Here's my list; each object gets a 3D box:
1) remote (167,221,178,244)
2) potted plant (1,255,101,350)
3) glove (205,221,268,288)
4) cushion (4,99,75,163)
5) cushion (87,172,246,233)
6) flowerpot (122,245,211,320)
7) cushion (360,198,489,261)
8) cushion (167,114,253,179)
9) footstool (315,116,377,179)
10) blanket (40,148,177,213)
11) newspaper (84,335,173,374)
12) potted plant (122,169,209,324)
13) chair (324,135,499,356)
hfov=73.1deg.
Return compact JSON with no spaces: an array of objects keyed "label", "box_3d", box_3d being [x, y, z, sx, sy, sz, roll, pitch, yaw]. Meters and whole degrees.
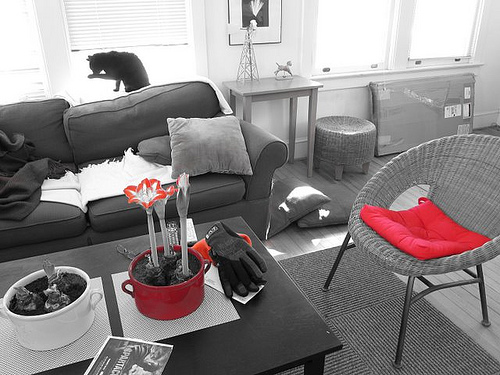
[{"label":"remote","box_3d":[-0.306,0.184,1.334,0.036,0.140,0.037,-8,28,-19]},{"label":"potted plant","box_3d":[-0.647,0.369,1.104,0.260,0.268,0.191,-1,27,8]},{"label":"glove","box_3d":[-0.046,0.277,1.362,0.160,0.216,0.208,-10,28,-35]},{"label":"cushion","box_3d":[-1.450,-0.398,2.346,0.400,0.412,0.163,-1,-3,-17]},{"label":"cushion","box_3d":[-0.494,0.093,2.119,0.972,0.210,0.196,-14,29,-17]},{"label":"flowerpot","box_3d":[-0.288,0.331,1.207,0.257,0.222,0.193,3,28,16]},{"label":"cushion","box_3d":[0.865,0.201,1.668,0.511,0.154,0.399,-13,29,-15]},{"label":"cushion","box_3d":[-0.275,-0.268,2.261,0.523,0.338,0.400,-8,27,-6]},{"label":"footstool","box_3d":[0.937,-0.407,3.385,0.574,0.476,0.614,5,29,18]},{"label":"blanket","box_3d":[-0.881,-0.188,2.564,1.097,0.304,1.168,-6,26,-31]},{"label":"newspaper","box_3d":[-0.369,0.540,1.047,0.224,0.041,0.127,0,28,9]},{"label":"potted plant","box_3d":[-0.296,0.209,1.179,0.258,0.453,0.276,8,21,21]},{"label":"chair","box_3d":[0.884,0.357,1.818,0.737,0.862,0.751,-21,38,-19]}]
